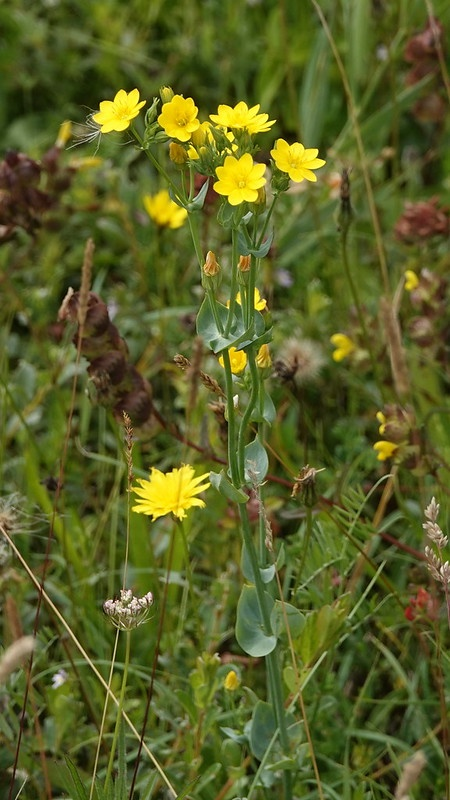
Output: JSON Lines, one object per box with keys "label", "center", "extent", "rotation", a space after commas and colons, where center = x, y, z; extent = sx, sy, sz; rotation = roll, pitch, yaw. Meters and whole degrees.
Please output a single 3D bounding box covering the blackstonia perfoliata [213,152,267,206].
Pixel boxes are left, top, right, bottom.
{"label": "blackstonia perfoliata", "center": [0.022, -0.186, 0.590], "extent": [0.037, 0.024, 0.043], "rotation": [21, 11, 19]}
